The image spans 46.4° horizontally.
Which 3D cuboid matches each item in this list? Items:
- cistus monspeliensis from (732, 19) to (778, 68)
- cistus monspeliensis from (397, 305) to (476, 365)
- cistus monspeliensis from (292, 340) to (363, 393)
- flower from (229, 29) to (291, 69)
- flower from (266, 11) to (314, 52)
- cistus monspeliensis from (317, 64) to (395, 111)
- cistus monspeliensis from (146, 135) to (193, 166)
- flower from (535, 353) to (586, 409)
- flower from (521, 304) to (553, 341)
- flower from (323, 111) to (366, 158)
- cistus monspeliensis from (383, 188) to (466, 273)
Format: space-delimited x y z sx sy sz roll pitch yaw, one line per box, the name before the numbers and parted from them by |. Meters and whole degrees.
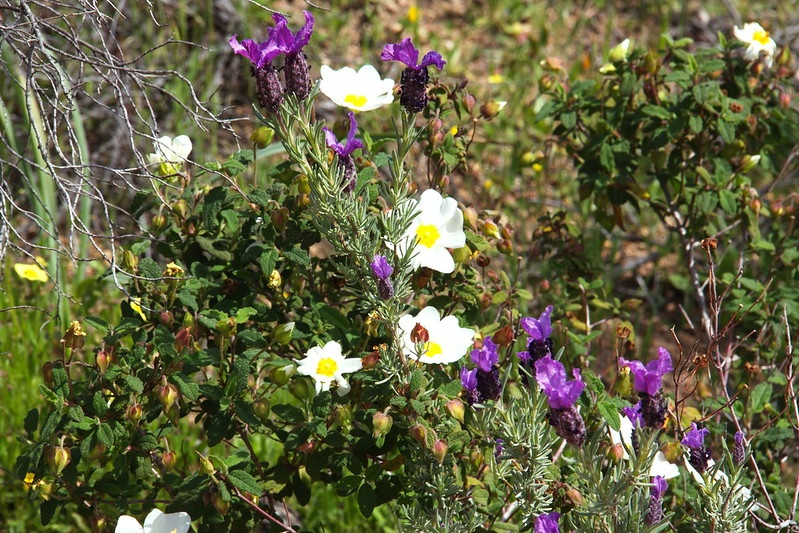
cistus monspeliensis | 1.449 -0.913 3.771 0.135 0.200 0.292 -3 -8 39
cistus monspeliensis | 0.123 0.248 3.359 0.273 0.204 0.235 4 -6 -22
cistus monspeliensis | -0.249 0.348 3.283 0.175 0.208 0.078 18 -27 -8
flower | -0.498 -0.743 3.223 0.178 0.127 0.240 8 8 26
flower | -0.371 -0.780 3.209 0.156 0.126 0.190 -10 0 -9
cistus monspeliensis | -0.156 -0.673 3.479 0.277 0.227 0.199 2 -6 -5
cistus monspeliensis | -0.865 -0.440 3.524 0.135 0.153 0.073 13 -21 32
flower | 0.501 0.356 3.100 0.152 0.142 0.174 9 -13 40
flower | 0.476 0.202 3.220 0.100 0.091 0.100 -19 7 24
flower | -0.198 -0.476 3.319 0.137 0.205 0.244 2 -6 0
cistus monspeliensis | 0.114 -0.131 3.355 0.208 0.293 0.301 -2 -7 35
